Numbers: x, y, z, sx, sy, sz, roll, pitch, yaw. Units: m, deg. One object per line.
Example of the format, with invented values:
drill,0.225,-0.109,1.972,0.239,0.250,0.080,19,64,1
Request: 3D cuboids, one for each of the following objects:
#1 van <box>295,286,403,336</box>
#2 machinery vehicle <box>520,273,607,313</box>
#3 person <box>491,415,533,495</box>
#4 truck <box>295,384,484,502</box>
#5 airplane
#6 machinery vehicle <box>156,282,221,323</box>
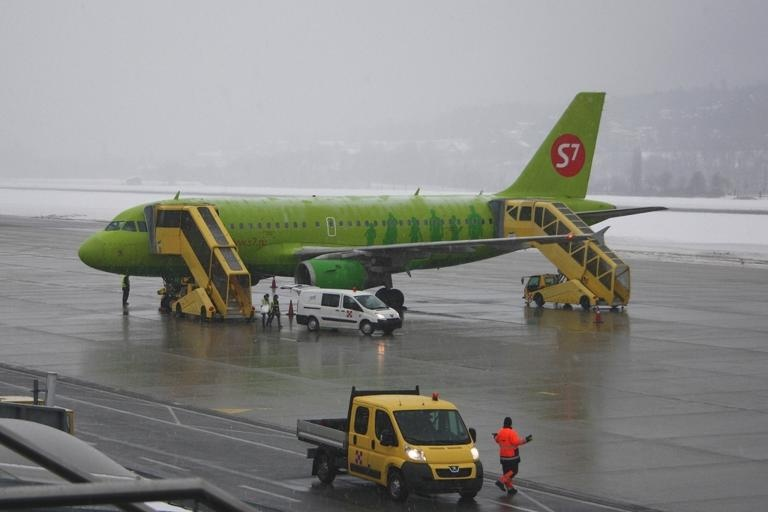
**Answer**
van,-1.667,2.502,61.475,5.053,1.924,2.211,1,-1,32
machinery vehicle,9.190,1.791,69.706,4.518,1.808,1.005,2,-3,-16
person,3.787,6.118,40.940,1.140,2.211,1.220,-1,-1,32
truck,-0.151,5.633,40.917,2.944,2.486,5.562,0,-1,-36
airplane,-0.175,-2.968,68.944,28.160,11.315,8.655,-3,7,-24
machinery vehicle,-9.295,2.227,64.512,4.302,1.583,1.384,9,8,44
